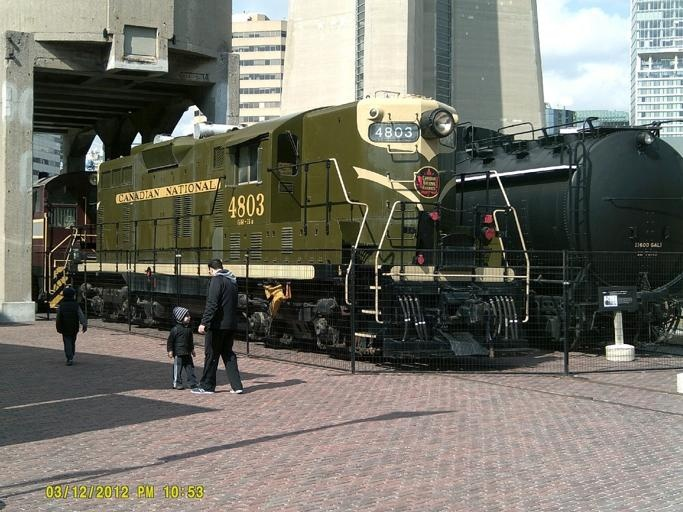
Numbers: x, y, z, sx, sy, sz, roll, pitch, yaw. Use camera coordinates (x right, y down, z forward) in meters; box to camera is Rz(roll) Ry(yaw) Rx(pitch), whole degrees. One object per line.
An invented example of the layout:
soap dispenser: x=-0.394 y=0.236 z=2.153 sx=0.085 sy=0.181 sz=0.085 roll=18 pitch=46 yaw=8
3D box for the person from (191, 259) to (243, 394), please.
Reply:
person: x=-2.204 y=1.286 z=13.841 sx=0.929 sy=2.347 sz=0.875 roll=6 pitch=9 yaw=38
